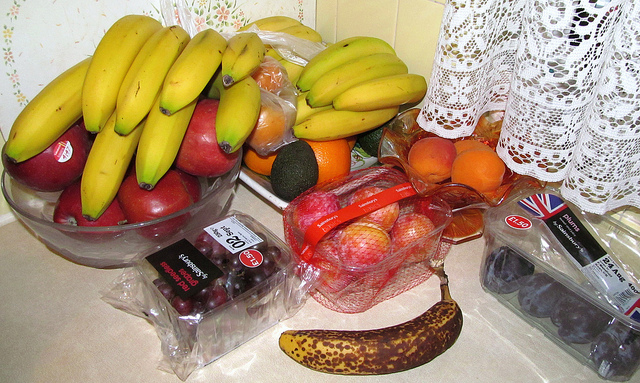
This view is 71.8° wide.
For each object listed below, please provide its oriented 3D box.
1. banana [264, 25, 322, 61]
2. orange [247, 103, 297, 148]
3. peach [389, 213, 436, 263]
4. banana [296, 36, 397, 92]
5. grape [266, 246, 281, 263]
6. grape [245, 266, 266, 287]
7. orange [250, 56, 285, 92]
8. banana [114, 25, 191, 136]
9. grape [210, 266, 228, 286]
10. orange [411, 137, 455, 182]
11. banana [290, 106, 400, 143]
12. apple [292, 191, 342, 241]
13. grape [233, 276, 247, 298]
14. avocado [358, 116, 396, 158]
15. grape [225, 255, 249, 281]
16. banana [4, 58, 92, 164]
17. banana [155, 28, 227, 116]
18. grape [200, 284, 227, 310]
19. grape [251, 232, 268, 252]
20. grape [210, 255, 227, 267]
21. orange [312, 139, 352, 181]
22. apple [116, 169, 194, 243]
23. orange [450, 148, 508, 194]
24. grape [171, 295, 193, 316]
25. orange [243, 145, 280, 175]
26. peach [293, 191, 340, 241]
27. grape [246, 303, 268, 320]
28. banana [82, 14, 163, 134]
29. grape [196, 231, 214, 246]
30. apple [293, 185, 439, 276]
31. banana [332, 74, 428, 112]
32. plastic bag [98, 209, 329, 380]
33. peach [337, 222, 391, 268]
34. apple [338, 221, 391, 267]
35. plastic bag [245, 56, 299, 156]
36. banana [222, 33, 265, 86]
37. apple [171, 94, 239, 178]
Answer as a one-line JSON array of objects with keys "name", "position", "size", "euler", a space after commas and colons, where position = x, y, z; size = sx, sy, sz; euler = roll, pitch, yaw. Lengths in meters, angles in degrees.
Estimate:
[{"name": "banana", "position": [-0.089, -0.451, 1.333], "size": [0.152, 0.085, 0.271], "euler": [0, 2, -12]}, {"name": "orange", "position": [-0.123, -0.162, 1.138], "size": [0.091, 0.113, 0.113], "euler": [4, -9, 42]}, {"name": "peach", "position": [0.198, 0.099, 1.016], "size": [0.100, 0.101, 0.119], "euler": [9, 61, -6]}, {"name": "banana", "position": [0.052, -0.350, 1.194], "size": [0.308, 0.104, 0.101], "euler": [-30, 21, -10]}, {"name": "grape", "position": [-0.095, 0.133, 0.938], "size": [0.025, 0.018, 0.032], "euler": [-44, 83, -12]}, {"name": "grape", "position": [-0.130, 0.172, 0.894], "size": [0.030, 0.032, 0.041], "euler": [-8, -2, -14]}, {"name": "orange", "position": [-0.129, -0.303, 1.132], "size": [0.089, 0.053, 0.088], "euler": [2, 81, -16]}, {"name": "banana", "position": [-0.361, -0.238, 0.980], "size": [0.086, 0.096, 0.292], "euler": [23, 65, -15]}, {"name": "grape", "position": [-0.196, 0.171, 0.890], "size": [0.027, 0.014, 0.043], "euler": [8, 37, 15]}, {"name": "orange", "position": [0.272, -0.085, 1.062], "size": [0.106, 0.100, 0.119], "euler": [1, 63, 5]}, {"name": "banana", "position": [0.056, -0.175, 1.113], "size": [0.205, 0.057, 0.042], "euler": [-12, 35, 1]}, {"name": "apple", "position": [0.002, 0.035, 0.989], "size": [0.089, 0.060, 0.109], "euler": [19, 57, 27]}, {"name": "grape", "position": [-0.158, 0.192, 0.883], "size": [0.032, 0.015, 0.032], "euler": [0, 81, -29]}, {"name": "avocado", "position": [0.152, -0.136, 1.222], "size": [0.093, 0.112, 0.093], "euler": [7, 69, 2]}, {"name": "grape", "position": [-0.170, 0.156, 0.902], "size": [0.039, 0.018, 0.039], "euler": [3, 72, -5]}, {"name": "banana", "position": [-0.588, -0.174, 0.961], "size": [0.081, 0.076, 0.252], "euler": [33, 66, 4]}, {"name": "banana", "position": [-0.259, -0.264, 1.007], "size": [0.093, 0.082, 0.253], "euler": [35, 59, -13]}, {"name": "grape", "position": [-0.206, 0.204, 0.868], "size": [0.043, 0.043, 0.040], "euler": [-6, 5, -3]}, {"name": "grape", "position": [-0.125, 0.102, 0.923], "size": [0.030, 0.023, 0.034], "euler": [3, 78, -13]}, {"name": "grape", "position": [-0.206, 0.139, 0.904], "size": [0.026, 0.019, 0.020], "euler": [2, 75, 3]}, {"name": "orange", "position": [0.049, -0.075, 1.143], "size": [0.094, 0.114, 0.094], "euler": [4, 30, 16]}, {"name": "apple", "position": [-0.366, 0.019, 1.015], "size": [0.149, 0.148, 0.145], "euler": [-14, 45, 0]}, {"name": "orange", "position": [0.349, -0.049, 0.978], "size": [0.109, 0.087, 0.111], "euler": [-8, -1, -34]}, {"name": "grape", "position": [-0.263, 0.218, 0.852], "size": [0.033, 0.040, 0.034], "euler": [1, 19, 6]}, {"name": "orange", "position": [-0.156, -0.080, 1.178], "size": [0.077, 0.078, 0.093], "euler": [4, 59, 14]}, {"name": "peach", "position": [0.005, 0.048, 0.986], "size": [0.086, 0.058, 0.106], "euler": [35, 73, 24]}, {"name": "grape", "position": [-0.131, 0.244, 0.911], "size": [0.031, 0.041, 0.011], "euler": [-5, 61, -4]}, {"name": "banana", "position": [-0.438, -0.267, 0.940], "size": [0.090, 0.102, 0.304], "euler": [20, 83, 0]}, {"name": "grape", "position": [-0.242, 0.096, 0.941], "size": [0.027, 0.026, 0.028], "euler": [39, 63, -1]}, {"name": "apple", "position": [0.096, 0.073, 0.951], "size": [0.248, 0.086, 0.188], "euler": [-14, 62, -19]}, {"name": "banana", "position": [0.158, -0.241, 1.122], "size": [0.283, 0.092, 0.085], "euler": [-15, 7, -24]}, {"name": "plastic bag", "position": [-0.219, 0.254, 1.012], "size": [0.406, 0.136, 0.307], "euler": [-30, 63, -18]}, {"name": "peach", "position": [0.094, 0.116, 0.970], "size": [0.120, 0.081, 0.145], "euler": [-2, 32, 9]}, {"name": "apple", "position": [0.088, 0.110, 0.929], "size": [0.087, 0.067, 0.088], "euler": [-10, 12, 17]}, {"name": "plastic bag", "position": [-0.117, -0.215, 1.119], "size": [0.147, 0.117, 0.241], "euler": [4, 79, -6]}, {"name": "banana", "position": [-0.179, -0.302, 1.041], "size": [0.077, 0.046, 0.142], "euler": [23, 50, 6]}, {"name": "apple", "position": [-0.236, -0.124, 1.051], "size": [0.165, 0.185, 0.149], "euler": [14, 35, -12]}]
